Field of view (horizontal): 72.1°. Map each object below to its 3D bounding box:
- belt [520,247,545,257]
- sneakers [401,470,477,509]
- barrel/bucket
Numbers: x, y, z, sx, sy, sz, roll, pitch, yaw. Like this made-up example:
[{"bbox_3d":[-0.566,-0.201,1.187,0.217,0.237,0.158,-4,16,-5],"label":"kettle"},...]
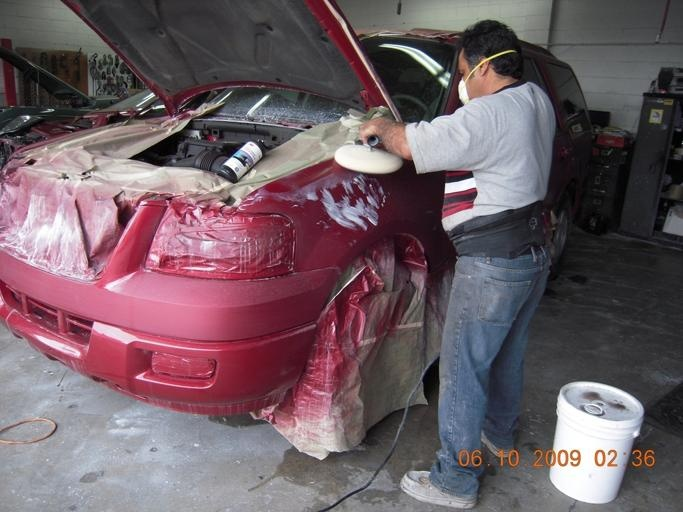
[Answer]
[{"bbox_3d":[0.863,-0.021,2.124,0.079,0.017,0.074,-10,0,10],"label":"belt"},{"bbox_3d":[0.481,1.114,2.294,0.344,0.111,0.141,13,14,13],"label":"sneakers"},{"bbox_3d":[1.203,0.865,2.417,0.446,0.530,0.475,2,14,-1],"label":"barrel/bucket"}]
